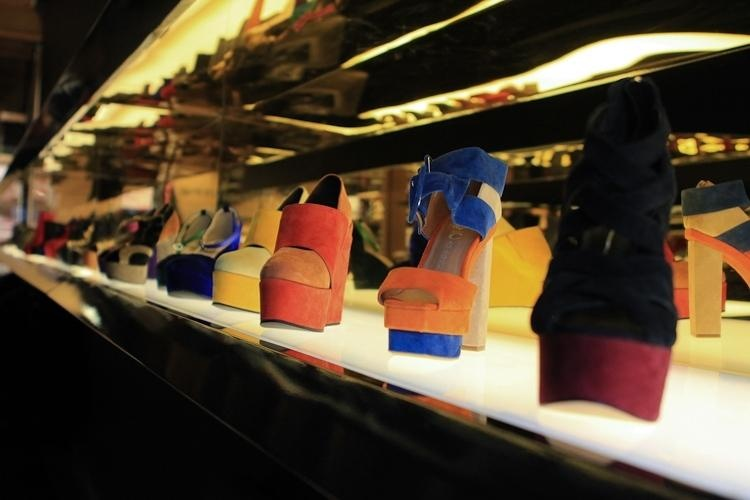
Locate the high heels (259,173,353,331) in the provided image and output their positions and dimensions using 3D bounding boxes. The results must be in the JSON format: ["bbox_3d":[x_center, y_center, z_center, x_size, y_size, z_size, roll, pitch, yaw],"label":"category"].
[{"bbox_3d":[-0.118,-0.005,1.030,0.141,0.217,0.224,4,1,0],"label":"high heels"}]

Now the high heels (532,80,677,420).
[{"bbox_3d":[0.310,-0.037,0.792,0.156,0.488,0.207,-3,-45,30],"label":"high heels"}]

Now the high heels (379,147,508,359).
[{"bbox_3d":[0.114,0.003,0.870,0.138,0.160,0.414,1,17,13],"label":"high heels"}]

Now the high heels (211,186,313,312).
[{"bbox_3d":[-0.242,0.003,1.192,0.102,0.199,0.305,18,7,-4],"label":"high heels"}]
